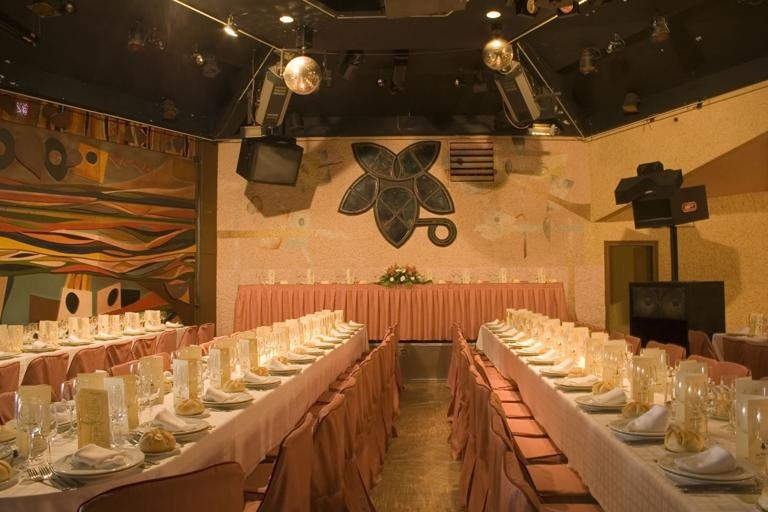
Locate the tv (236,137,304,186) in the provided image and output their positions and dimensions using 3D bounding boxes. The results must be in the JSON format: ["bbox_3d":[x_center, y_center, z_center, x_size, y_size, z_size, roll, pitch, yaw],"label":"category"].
[{"bbox_3d":[-2.196,-1.944,11.171,1.175,0.957,1.185,28,25,30],"label":"tv"}]
